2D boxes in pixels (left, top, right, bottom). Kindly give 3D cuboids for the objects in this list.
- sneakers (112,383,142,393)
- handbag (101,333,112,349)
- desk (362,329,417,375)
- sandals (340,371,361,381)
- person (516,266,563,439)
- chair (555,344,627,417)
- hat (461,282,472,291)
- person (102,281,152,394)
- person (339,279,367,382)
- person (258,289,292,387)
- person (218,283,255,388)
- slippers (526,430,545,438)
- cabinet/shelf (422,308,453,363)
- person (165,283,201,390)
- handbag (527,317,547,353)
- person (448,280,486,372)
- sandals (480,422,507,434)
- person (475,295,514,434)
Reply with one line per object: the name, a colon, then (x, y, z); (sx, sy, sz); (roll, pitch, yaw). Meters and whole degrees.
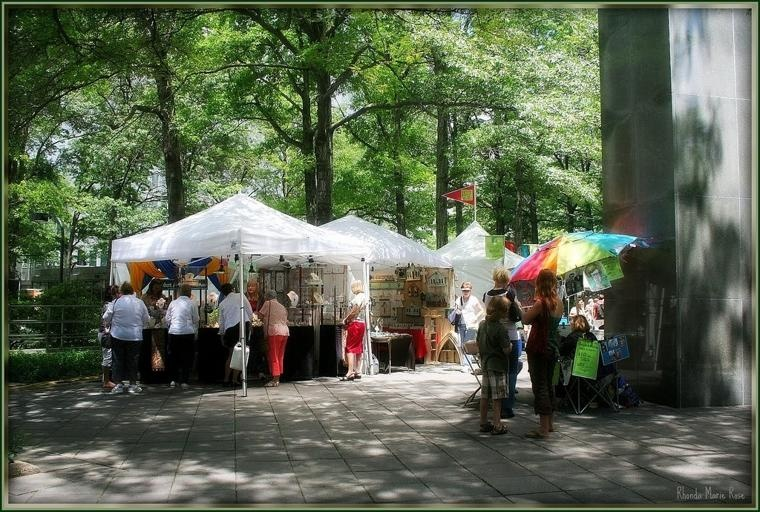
sneakers: (-4.830, 2.500, 12.382); (0.531, 0.203, 0.243); (4, 2, 20)
handbag: (-5.183, 1.576, 12.365); (0.296, 0.267, 0.143); (-6, -7, 30)
desk: (0.203, 2.235, 15.682); (1.258, 0.873, 0.854); (0, 1, 45)
sandals: (-0.644, 2.537, 13.920); (0.419, 0.132, 0.160); (-4, -2, 28)
person: (2.355, 1.356, 9.393); (0.467, 2.385, 0.778); (-5, -7, 27)
chair: (3.420, 1.989, 10.837); (0.856, 1.166, 0.891); (3, -12, -11)
hat: (1.976, 0.676, 14.951); (0.176, 0.173, 0.229); (1, -12, -21)
person: (-4.857, 1.526, 12.481); (0.684, 2.099, 0.601); (-4, -6, 15)
person: (-0.561, 1.574, 13.978); (0.582, 2.050, 0.876); (-2, -6, -2)
person: (-2.144, 1.629, 13.076); (0.551, 1.852, 0.490); (-1, -6, -12)
person: (-2.863, 1.516, 12.858); (0.626, 1.983, 1.079); (-1, -6, -14)
slippers: (2.213, 2.500, 9.303); (0.259, 0.108, 0.095); (0, -5, 19)
cabinet/shelf: (1.570, 2.163, 17.630); (0.400, 1.101, 0.565); (4, -14, 16)
person: (-3.951, 1.564, 12.997); (0.605, 2.007, 0.742); (0, -6, -17)
handbag: (2.201, 1.077, 9.143); (0.276, 0.472, 0.104); (-4, -6, 16)
person: (1.934, 1.604, 14.986); (0.893, 1.942, 0.698); (0, 0, 14)
sandals: (1.642, 2.482, 9.458); (0.360, 0.148, 0.163); (0, -1, -15)
person: (1.654, 1.557, 9.466); (0.573, 1.966, 0.407); (-5, -7, 28)
